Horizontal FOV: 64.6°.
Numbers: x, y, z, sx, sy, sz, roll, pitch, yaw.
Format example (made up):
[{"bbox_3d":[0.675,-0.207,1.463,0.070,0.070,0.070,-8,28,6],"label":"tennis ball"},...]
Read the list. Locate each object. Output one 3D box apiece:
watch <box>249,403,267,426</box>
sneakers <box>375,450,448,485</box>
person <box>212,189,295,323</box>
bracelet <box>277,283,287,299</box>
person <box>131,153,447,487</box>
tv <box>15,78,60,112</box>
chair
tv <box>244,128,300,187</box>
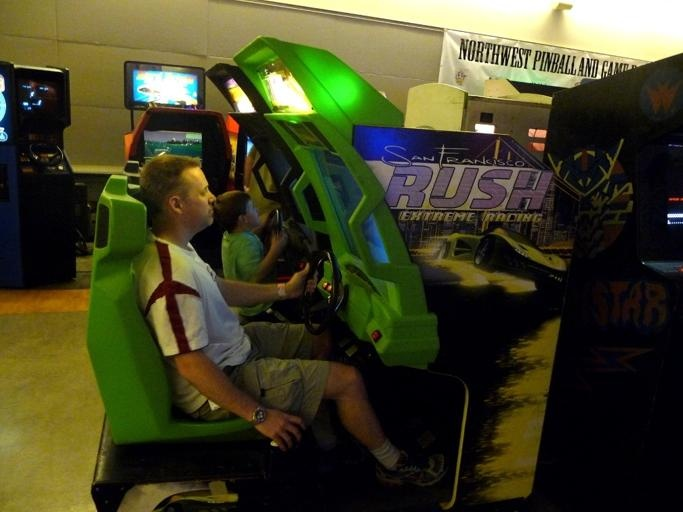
[{"bbox_3d":[-0.326,0.616,2.109,0.077,0.056,0.029,-50,19,-28],"label":"watch"},{"bbox_3d":[0.312,0.957,2.431,0.298,0.137,0.166,-15,7,5],"label":"sneakers"},{"bbox_3d":[-0.494,-0.028,3.367,0.503,0.786,0.498,-15,18,-39],"label":"person"},{"bbox_3d":[-0.297,0.172,2.697,0.044,0.068,0.061,1,-16,-13],"label":"bracelet"},{"bbox_3d":[-0.244,0.299,2.457,1.247,1.515,0.706,-5,9,-17],"label":"person"},{"bbox_3d":[-2.554,-1.347,4.487,0.044,0.234,0.327,8,9,42],"label":"tv"},{"bbox_3d":[-0.677,0.216,2.342,0.807,1.061,0.651,2,8,-7],"label":"chair"},{"bbox_3d":[-0.370,-0.615,3.110,0.077,0.314,0.316,-38,45,-26],"label":"tv"}]
